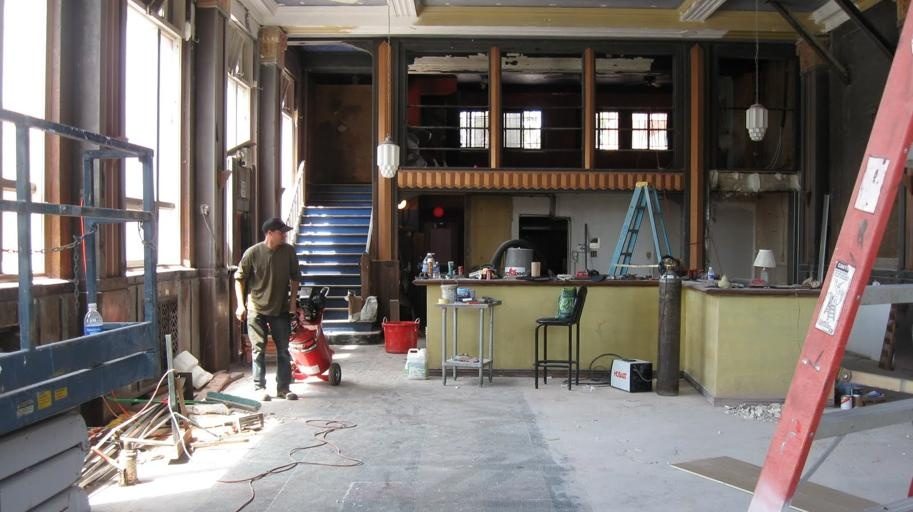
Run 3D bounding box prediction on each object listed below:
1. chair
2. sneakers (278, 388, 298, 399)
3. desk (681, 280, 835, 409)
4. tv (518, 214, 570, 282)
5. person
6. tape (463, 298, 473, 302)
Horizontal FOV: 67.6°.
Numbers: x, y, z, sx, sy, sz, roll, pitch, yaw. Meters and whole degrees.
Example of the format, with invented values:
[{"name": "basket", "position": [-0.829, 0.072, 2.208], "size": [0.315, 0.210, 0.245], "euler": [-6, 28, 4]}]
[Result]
[{"name": "chair", "position": [1.804, 1.364, 11.507], "size": [0.822, 1.682, 0.747], "euler": [1, -2, 19]}, {"name": "sneakers", "position": [-2.611, 2.154, 10.570], "size": [0.345, 0.126, 0.137], "euler": [-3, -2, 41]}, {"name": "desk", "position": [4.683, 0.920, 11.174], "size": [1.527, 1.880, 2.741], "euler": [0, 3, 4]}, {"name": "tv", "position": [2.035, -0.224, 15.909], "size": [1.328, 1.438, 0.120], "euler": [-1, 7, -1]}, {"name": "person", "position": [-2.921, 0.825, 10.634], "size": [0.943, 2.800, 0.485], "euler": [0, 1, -15]}, {"name": "tape", "position": [0.208, 0.758, 11.482], "size": [0.178, 0.037, 0.164], "euler": [0, 1, 9]}]
